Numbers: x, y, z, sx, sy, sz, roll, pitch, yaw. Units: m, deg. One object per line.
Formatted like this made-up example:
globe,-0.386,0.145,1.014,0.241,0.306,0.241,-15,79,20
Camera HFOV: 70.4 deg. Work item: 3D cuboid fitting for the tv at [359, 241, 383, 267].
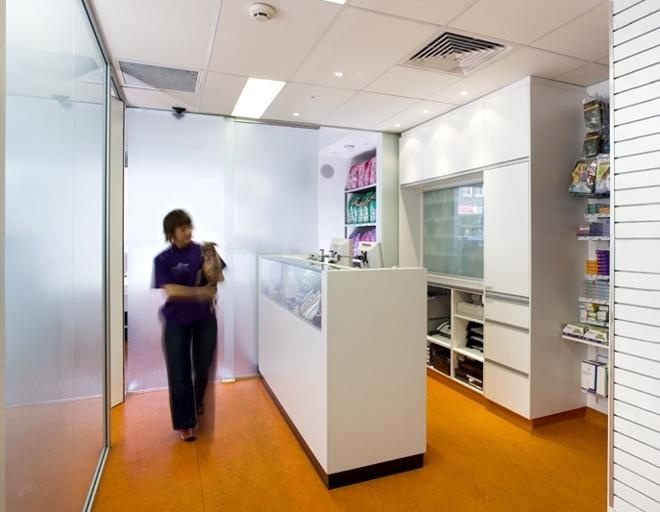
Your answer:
tv,0.336,-0.012,3.904,0.068,0.182,0.197,-4,5,-29

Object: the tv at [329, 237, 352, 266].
tv,0.095,-0.032,4.041,0.057,0.315,0.204,-6,7,-42

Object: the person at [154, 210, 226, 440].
person,-1.009,0.519,3.448,0.652,1.683,0.386,6,9,44

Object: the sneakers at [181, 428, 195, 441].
sneakers,-1.114,1.413,3.664,0.108,0.116,0.076,-4,-4,3

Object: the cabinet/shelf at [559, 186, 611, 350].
cabinet/shelf,2.125,0.102,3.869,0.331,1.209,0.565,3,7,29
